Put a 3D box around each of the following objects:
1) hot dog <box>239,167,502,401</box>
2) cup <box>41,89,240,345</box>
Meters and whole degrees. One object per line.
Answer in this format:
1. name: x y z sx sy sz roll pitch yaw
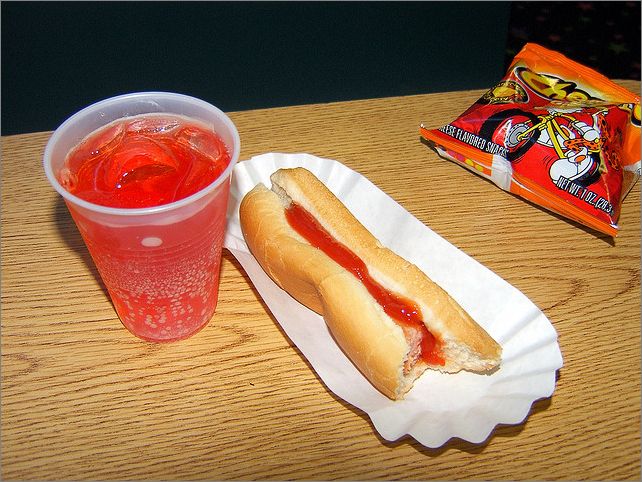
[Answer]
1. hot dog: 0.042 0.118 1.441 0.355 0.222 0.804 -37 61 -20
2. cup: -0.393 -0.057 1.275 0.397 0.470 0.409 3 47 -3
